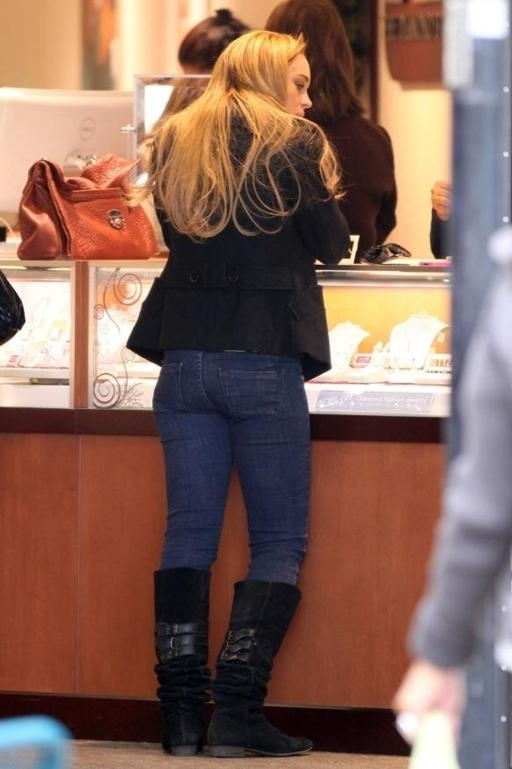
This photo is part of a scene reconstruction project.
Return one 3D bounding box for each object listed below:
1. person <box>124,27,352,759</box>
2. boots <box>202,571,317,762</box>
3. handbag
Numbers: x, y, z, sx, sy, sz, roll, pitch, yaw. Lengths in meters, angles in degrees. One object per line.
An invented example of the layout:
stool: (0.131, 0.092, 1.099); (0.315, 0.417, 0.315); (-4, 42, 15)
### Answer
person: (-0.056, 0.116, 1.851); (0.533, 1.558, 0.386); (0, 11, 7)
boots: (0.006, 0.683, 1.856); (0.255, 0.454, 0.146); (-3, 11, -11)
handbag: (-0.465, -0.493, 2.342); (0.568, 0.365, 0.296); (0, 13, -7)
